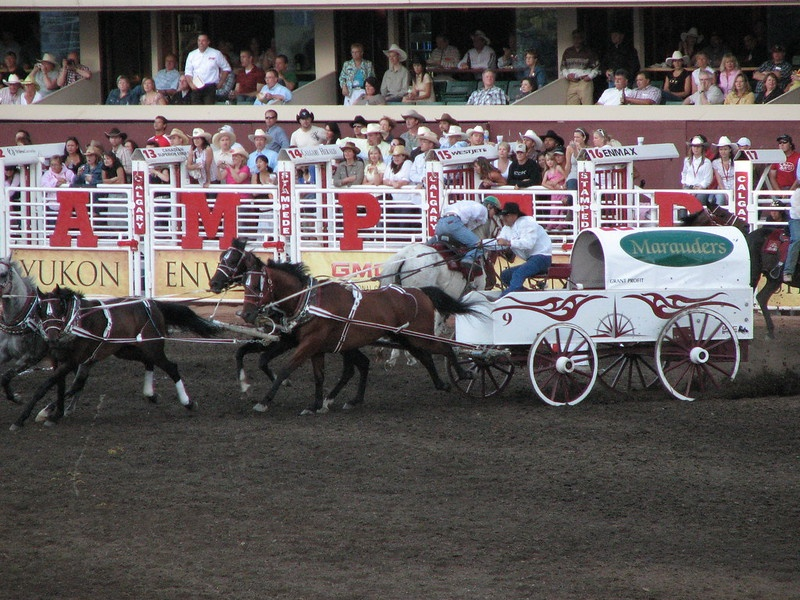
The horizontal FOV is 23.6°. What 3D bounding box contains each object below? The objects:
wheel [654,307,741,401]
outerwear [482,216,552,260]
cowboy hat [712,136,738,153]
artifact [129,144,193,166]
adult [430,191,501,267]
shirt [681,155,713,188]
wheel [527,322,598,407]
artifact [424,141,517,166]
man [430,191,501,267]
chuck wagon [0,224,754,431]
[{"bbox_3d":[3.963,0.705,25.657,1.189,1.102,0.341,-6,14,-15],"label":"wheel"},{"bbox_3d":[1.644,-0.843,26.663,0.971,0.581,0.687,-5,2,-8],"label":"outerwear"},{"bbox_3d":[5.236,-2.491,31.028,0.366,0.160,0.404,0,-14,16],"label":"cowboy hat"},{"bbox_3d":[-3.859,-2.306,31.220,0.428,0.315,1.046,4,10,40],"label":"artifact"},{"bbox_3d":[0.974,-0.990,27.565,1.284,0.819,0.680,0,10,-38],"label":"adult"},{"bbox_3d":[4.736,-2.027,30.654,0.538,0.498,0.297,4,-2,37],"label":"shirt"},{"bbox_3d":[2.140,0.846,25.519,0.924,0.874,0.268,-22,8,-14],"label":"wheel"},{"bbox_3d":[1.055,-2.246,30.309,0.597,0.294,1.420,3,9,32],"label":"artifact"},{"bbox_3d":[1.007,-0.986,27.487,1.175,0.762,0.631,0,1,-34],"label":"man"},{"bbox_3d":[-0.645,0.190,27.008,10.744,3.399,3.340,0,2,-2],"label":"chuck wagon"}]
